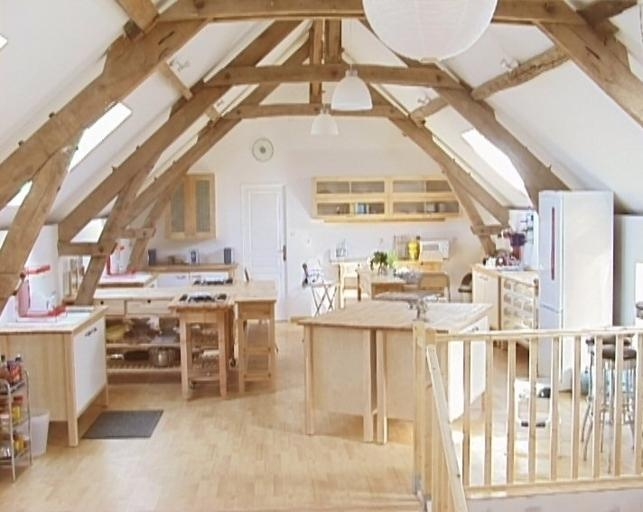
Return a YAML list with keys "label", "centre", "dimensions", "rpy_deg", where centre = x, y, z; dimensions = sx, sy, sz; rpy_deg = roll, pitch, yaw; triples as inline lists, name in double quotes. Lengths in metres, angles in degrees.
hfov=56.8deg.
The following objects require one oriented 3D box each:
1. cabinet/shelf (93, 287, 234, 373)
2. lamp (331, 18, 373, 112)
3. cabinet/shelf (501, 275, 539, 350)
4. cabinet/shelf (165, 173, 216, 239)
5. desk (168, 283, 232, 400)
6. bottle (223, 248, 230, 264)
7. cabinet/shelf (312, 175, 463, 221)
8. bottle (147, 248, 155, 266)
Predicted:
- label: "cabinet/shelf"
  centre: [-2.020, 0.841, 6.855]
  dimensions: [1.303, 1.128, 0.819]
  rpy_deg: [0, 5, -2]
- label: "lamp"
  centre: [0.237, -1.576, 5.346]
  dimensions: [0.449, 0.579, 0.500]
  rpy_deg: [-2, 13, -2]
- label: "cabinet/shelf"
  centre: [2.210, 0.590, 6.594]
  dimensions: [0.308, 0.853, 0.847]
  rpy_deg: [0, 4, -1]
- label: "cabinet/shelf"
  centre: [-2.059, -0.784, 9.157]
  dimensions: [0.843, 1.258, 0.407]
  rpy_deg: [0, 3, -8]
- label: "desk"
  centre: [-1.210, 0.857, 6.673]
  dimensions: [0.860, 1.409, 0.916]
  rpy_deg: [0, 12, -3]
- label: "bottle"
  centre: [-1.502, 0.001, 9.469]
  dimensions: [0.123, 0.250, 0.254]
  rpy_deg: [-4, 8, -21]
- label: "cabinet/shelf"
  centre: [1.002, -0.898, 9.393]
  dimensions: [2.239, 0.676, 0.228]
  rpy_deg: [-1, 7, -1]
- label: "bottle"
  centre: [-2.668, 0.031, 9.337]
  dimensions: [0.042, 0.210, 0.190]
  rpy_deg: [3, 2, 14]
